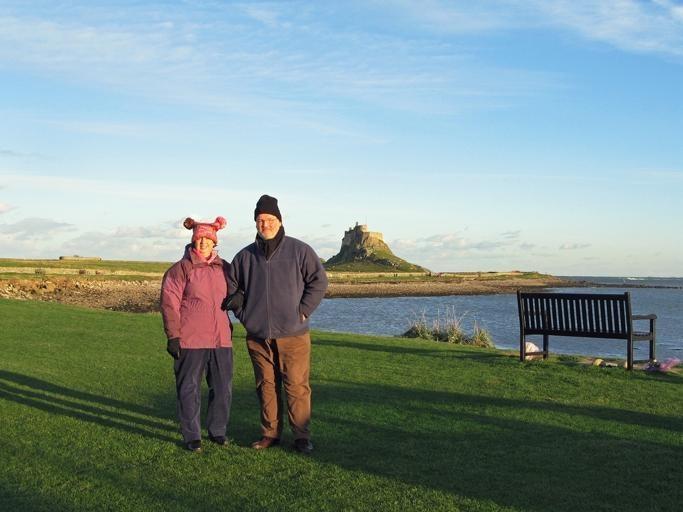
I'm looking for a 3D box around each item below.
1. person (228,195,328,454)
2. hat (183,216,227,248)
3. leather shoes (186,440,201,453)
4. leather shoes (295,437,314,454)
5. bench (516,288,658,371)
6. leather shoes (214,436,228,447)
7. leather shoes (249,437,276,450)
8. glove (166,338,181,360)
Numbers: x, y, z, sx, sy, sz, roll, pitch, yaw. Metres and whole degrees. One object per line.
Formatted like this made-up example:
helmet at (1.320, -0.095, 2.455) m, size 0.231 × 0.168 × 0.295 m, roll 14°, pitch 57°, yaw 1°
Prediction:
person at (-0.765, 0.737, 6.813) m, size 1.156 × 2.919 × 0.538 m, roll -1°, pitch 0°, yaw -2°
hat at (-1.493, -0.246, 6.201) m, size 0.552 × 0.399 × 0.391 m, roll 2°, pitch -13°, yaw -13°
leather shoes at (-1.685, 2.130, 6.560) m, size 0.184 × 0.093 × 0.176 m, roll -1°, pitch -1°, yaw -9°
leather shoes at (-0.450, 2.138, 6.590) m, size 0.262 × 0.095 × 0.220 m, roll -1°, pitch -1°, yaw 11°
bench at (4.921, 1.472, 11.827) m, size 1.049 × 1.423 × 2.543 m, roll 8°, pitch -8°, yaw -31°
leather shoes at (-1.419, 2.135, 6.775) m, size 0.201 × 0.088 × 0.191 m, roll 0°, pitch -1°, yaw -15°
leather shoes at (-0.908, 2.162, 6.723) m, size 0.103 × 0.120 × 0.303 m, roll -7°, pitch -19°, yaw 38°
glove at (-1.954, 1.068, 6.733) m, size 0.155 × 0.264 × 0.178 m, roll -1°, pitch -1°, yaw -11°
